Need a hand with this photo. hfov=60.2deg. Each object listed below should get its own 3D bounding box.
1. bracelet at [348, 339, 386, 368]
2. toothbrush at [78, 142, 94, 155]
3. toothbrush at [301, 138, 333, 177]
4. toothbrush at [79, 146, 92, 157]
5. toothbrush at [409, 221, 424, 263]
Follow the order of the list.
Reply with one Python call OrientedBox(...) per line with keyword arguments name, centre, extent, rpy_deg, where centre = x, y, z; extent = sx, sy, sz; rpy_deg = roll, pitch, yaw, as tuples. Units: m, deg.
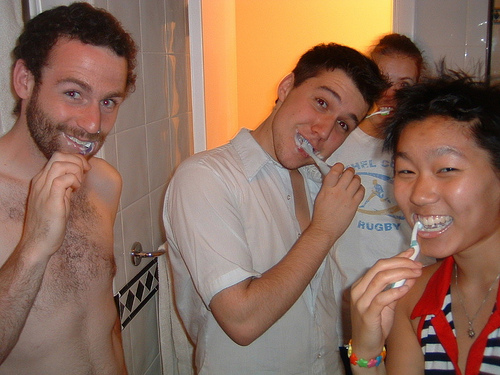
OrientedBox(name="bracelet", centre=(0.377, 0.515, 1.351), extent=(0.135, 0.078, 0.085), rpy_deg=(1, -2, -4))
OrientedBox(name="toothbrush", centre=(-0.516, -0.118, 1.360), extent=(0.042, 0.040, 0.027), rpy_deg=(2, -3, -25))
OrientedBox(name="toothbrush", centre=(0.258, -0.114, 1.677), extent=(0.032, 0.150, 0.037), rpy_deg=(-37, 9, 17))
OrientedBox(name="toothbrush", centre=(-0.523, -0.110, 1.364), extent=(0.028, 0.030, 0.021), rpy_deg=(-15, -29, -23))
OrientedBox(name="toothbrush", centre=(0.497, 0.158, 1.292), extent=(0.029, 0.171, 0.032), rpy_deg=(21, -19, -38))
